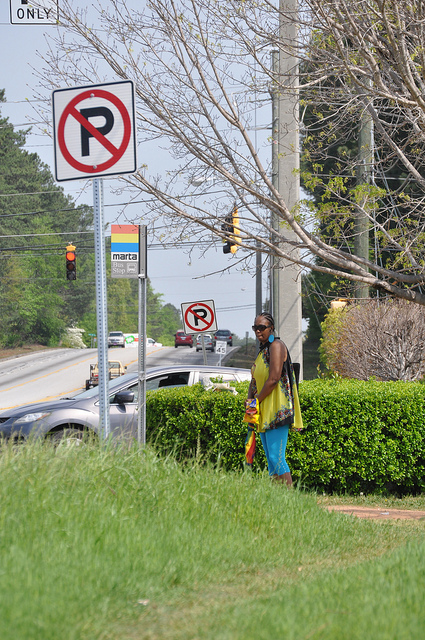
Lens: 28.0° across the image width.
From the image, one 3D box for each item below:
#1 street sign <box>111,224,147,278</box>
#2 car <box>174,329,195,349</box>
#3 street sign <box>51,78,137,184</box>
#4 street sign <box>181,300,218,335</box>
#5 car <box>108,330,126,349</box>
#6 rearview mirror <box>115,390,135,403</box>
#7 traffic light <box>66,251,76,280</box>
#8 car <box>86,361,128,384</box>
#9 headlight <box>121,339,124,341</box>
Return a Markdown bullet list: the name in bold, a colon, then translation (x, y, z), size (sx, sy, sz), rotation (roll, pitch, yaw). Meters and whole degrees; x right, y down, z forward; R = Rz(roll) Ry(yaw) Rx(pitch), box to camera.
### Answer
- **street sign**: translation (-0.867, -0.707, 8.719), size (0.335, 0.539, 1.425), rotation (-2, 3, -7)
- **car**: translation (-1.871, 1.198, 55.807), size (1.169, 0.950, 2.174), rotation (1, 4, 1)
- **street sign**: translation (-0.807, -1.304, 5.832), size (0.649, 0.671, 0.152), rotation (0, 4, 19)
- **street sign**: translation (-0.203, -0.049, 12.726), size (0.599, 0.573, 0.064), rotation (-2, 8, 8)
- **car**: translation (-6.415, 1.224, 57.103), size (1.086, 0.959, 2.257), rotation (0, -5, -2)
- **rearview mirror**: translation (-1.002, 0.874, 9.847), size (0.161, 0.077, 0.153), rotation (0, -11, 1)
- **traffic light**: translation (-3.906, -1.538, 23.495), size (0.213, 0.763, 0.699), rotation (-2, 3, -12)
- **car**: translation (-3.714, 1.787, 30.180), size (1.499, 0.858, 2.496), rotation (0, 5, -6)
- **headlight**: translation (-6.104, 1.289, 57.154), size (0.123, 0.111, 0.062), rotation (1, -5, -4)
